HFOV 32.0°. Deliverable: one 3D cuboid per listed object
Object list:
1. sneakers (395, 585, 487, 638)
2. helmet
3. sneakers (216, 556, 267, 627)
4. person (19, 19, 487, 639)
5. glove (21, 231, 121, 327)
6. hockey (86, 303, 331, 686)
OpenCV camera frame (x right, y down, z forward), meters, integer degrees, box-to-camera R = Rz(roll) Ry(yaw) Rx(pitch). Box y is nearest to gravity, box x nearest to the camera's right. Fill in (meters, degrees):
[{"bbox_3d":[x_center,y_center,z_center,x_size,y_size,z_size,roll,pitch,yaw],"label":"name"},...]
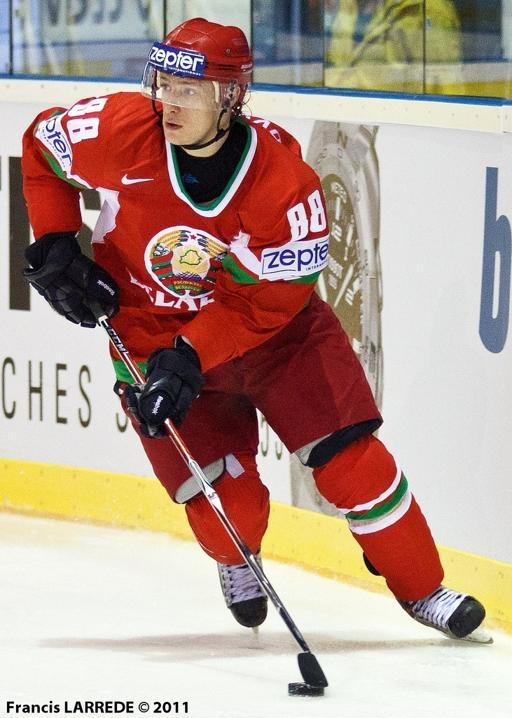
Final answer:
[{"bbox_3d":[0.396,0.519,1.874,0.206,0.066,0.083,23,2,8],"label":"sneakers"},{"bbox_3d":[-0.093,-0.537,1.665,0.215,0.159,0.160,-2,20,-34],"label":"helmet"},{"bbox_3d":[-0.031,0.503,1.966,0.062,0.174,0.086,-14,-6,-4],"label":"sneakers"},{"bbox_3d":[-0.068,-0.016,1.808,0.620,1.254,0.898,-26,27,-38],"label":"person"},{"bbox_3d":[-0.375,-0.177,1.947,0.157,0.245,0.091,-46,0,25],"label":"glove"},{"bbox_3d":[-0.087,0.324,1.994,0.118,0.855,0.133,-29,-12,-11],"label":"hockey"}]
